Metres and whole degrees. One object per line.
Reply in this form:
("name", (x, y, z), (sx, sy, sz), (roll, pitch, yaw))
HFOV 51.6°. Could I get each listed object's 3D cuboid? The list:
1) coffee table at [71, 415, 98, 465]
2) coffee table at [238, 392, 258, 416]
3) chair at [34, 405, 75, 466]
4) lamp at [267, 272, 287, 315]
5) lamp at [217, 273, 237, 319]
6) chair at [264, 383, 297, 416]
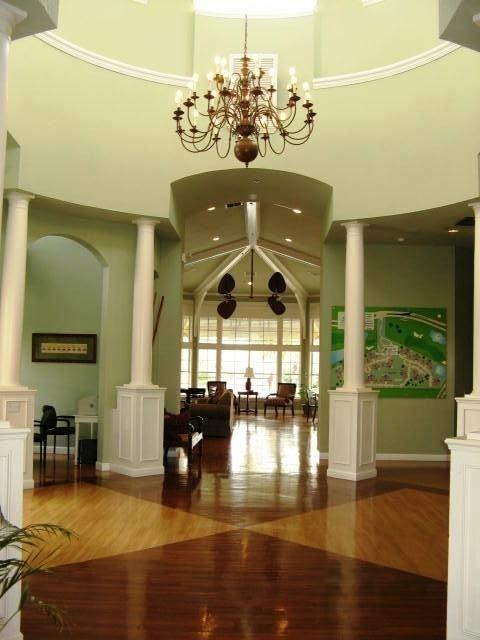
("coffee table", (-2.308, 1.766, 7.376), (0.307, 0.718, 1.215), (3, -8, -17))
("coffee table", (0.232, 3.031, 17.931), (0.683, 0.869, 0.701), (-8, -13, 41))
("chair", (-2.830, 1.726, 7.537), (0.561, 0.856, 1.714), (4, -8, -20))
("lamp", (0.976, -0.731, 13.288), (0.484, 1.581, 0.294), (0, -1, -2))
("lamp", (-0.372, -0.585, 13.151), (0.473, 0.313, 1.471), (-4, -47, -5))
("chair", (1.468, 2.767, 17.142), (0.942, 1.509, 1.037), (-2, -5, 31))
